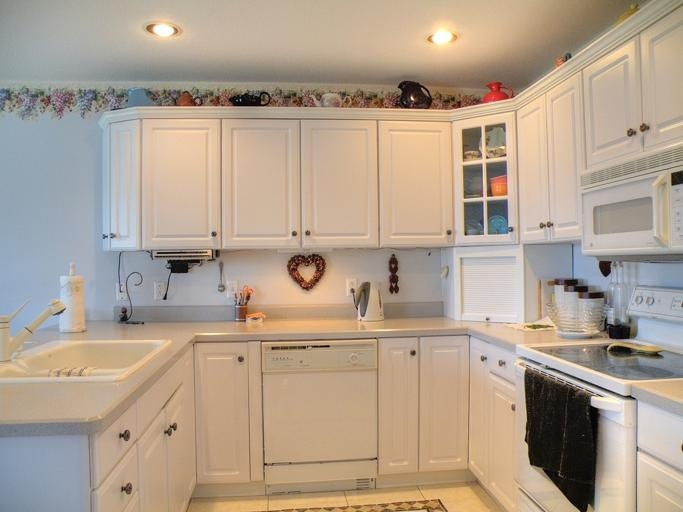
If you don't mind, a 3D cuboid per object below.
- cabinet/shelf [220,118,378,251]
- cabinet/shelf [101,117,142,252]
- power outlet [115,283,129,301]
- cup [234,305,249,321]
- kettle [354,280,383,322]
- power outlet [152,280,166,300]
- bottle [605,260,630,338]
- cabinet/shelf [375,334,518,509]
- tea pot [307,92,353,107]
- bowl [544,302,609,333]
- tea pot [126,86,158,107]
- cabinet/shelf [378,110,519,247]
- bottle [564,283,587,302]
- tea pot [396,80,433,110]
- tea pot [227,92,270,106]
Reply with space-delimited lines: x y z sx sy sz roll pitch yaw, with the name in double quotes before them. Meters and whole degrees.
"cabinet/shelf" -0.279 -0.479 3.754 1.056 0.883 0.389 0 -1 -8
"cabinet/shelf" -1.455 -0.471 3.564 0.295 0.847 0.095 -1 2 26
"power outlet" -1.547 0.247 3.805 0.129 0.172 0.018 0 1 -2
"cup" -0.700 0.395 3.765 0.104 0.138 0.103 0 4 0
"kettle" 0.190 0.317 3.774 0.262 0.258 0.206 -1 -3 -45
"power outlet" -1.286 0.243 3.812 0.131 0.183 0.055 0 2 -15
"bottle" 1.596 0.210 3.102 0.110 0.350 0.148 -1 2 26
"cabinet/shelf" 0.635 0.982 3.431 0.885 1.279 0.905 1 -5 -9
"tea pot" -0.066 -1.107 3.843 0.211 0.074 0.148 -4 7 -17
"bowl" 1.363 0.357 3.104 0.221 0.098 0.211 0 -1 0
"tea pot" -1.349 -1.063 3.608 0.170 0.172 0.204 -2 1 -18
"cabinet/shelf" 0.716 -0.531 3.618 0.935 0.854 0.305 0 -5 1
"bottle" 1.405 0.218 3.246 0.117 0.107 0.117 0 0 41
"tea pot" 0.508 -1.105 3.816 0.245 0.213 0.179 -10 2 8
"tea pot" -0.623 -1.053 3.673 0.201 0.087 0.147 0 9 -8
